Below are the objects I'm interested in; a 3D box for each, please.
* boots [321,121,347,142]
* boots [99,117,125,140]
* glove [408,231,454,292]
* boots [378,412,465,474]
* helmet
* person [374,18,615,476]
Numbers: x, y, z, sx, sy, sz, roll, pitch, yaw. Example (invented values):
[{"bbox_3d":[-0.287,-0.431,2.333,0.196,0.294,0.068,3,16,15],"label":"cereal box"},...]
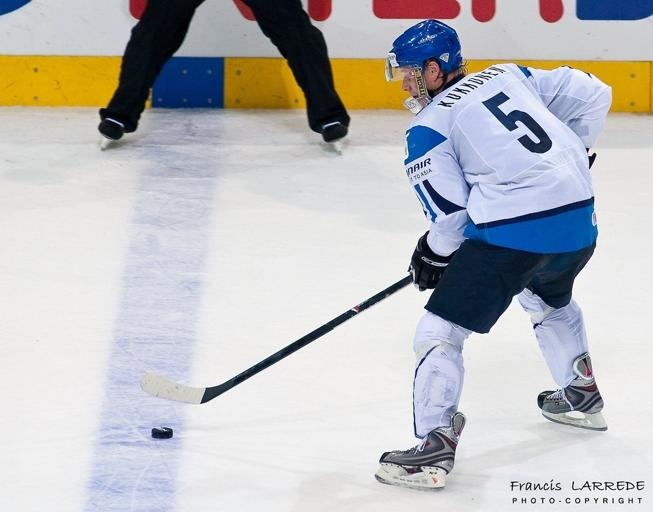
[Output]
[{"bbox_3d":[0.056,-0.723,4.622,0.176,0.081,0.152,-12,-1,6],"label":"boots"},{"bbox_3d":[-1.276,-0.742,4.557,0.156,0.111,0.131,-3,33,-18],"label":"boots"},{"bbox_3d":[0.332,0.011,2.766,0.182,0.183,0.192,-6,61,2],"label":"glove"},{"bbox_3d":[0.325,0.637,2.589,0.335,0.195,0.107,-12,-20,41],"label":"boots"},{"bbox_3d":[0.375,-0.749,2.787,0.275,0.208,0.183,-2,23,14],"label":"helmet"},{"bbox_3d":[0.620,-0.040,2.625,0.772,1.472,0.889,3,19,11],"label":"person"}]
